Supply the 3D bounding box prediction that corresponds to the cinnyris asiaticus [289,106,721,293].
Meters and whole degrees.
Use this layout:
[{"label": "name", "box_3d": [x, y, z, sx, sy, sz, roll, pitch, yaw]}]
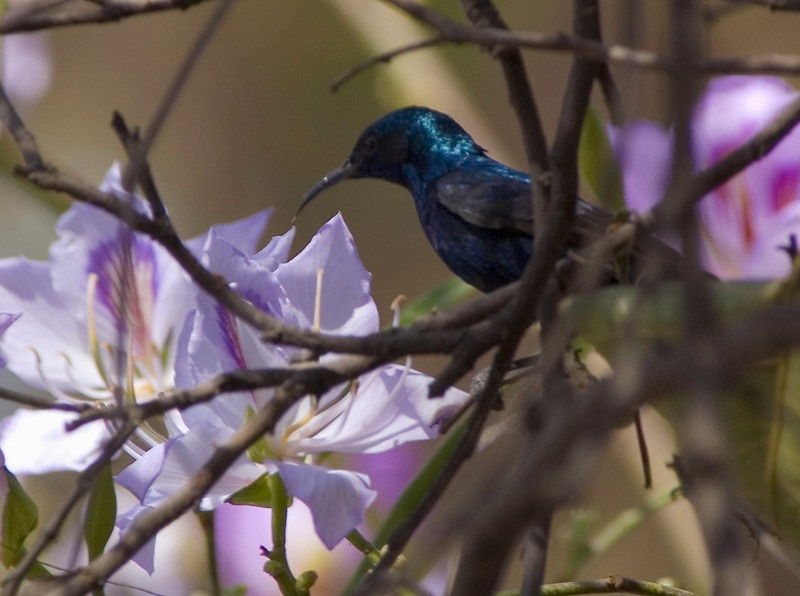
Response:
[{"label": "cinnyris asiaticus", "box_3d": [0.084, -0.078, 0.971, 0.292, 0.099, 0.185, -11, -76, -9]}]
